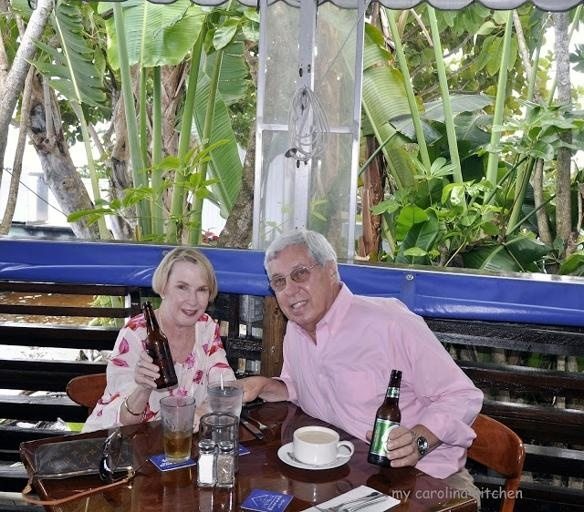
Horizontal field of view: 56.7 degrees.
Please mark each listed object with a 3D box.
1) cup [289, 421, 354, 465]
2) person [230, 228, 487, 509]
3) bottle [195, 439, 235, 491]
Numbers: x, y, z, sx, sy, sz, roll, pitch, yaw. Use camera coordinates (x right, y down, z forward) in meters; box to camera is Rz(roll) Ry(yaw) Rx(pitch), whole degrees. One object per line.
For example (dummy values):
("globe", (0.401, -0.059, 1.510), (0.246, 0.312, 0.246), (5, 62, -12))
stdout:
("cup", (0.076, 0.517, 1.498), (0.121, 0.045, 0.089), (6, 2, 6))
("person", (0.205, 0.484, 2.065), (0.896, 1.224, 0.557), (-7, 7, 37))
("bottle", (-0.192, 0.528, 1.371), (0.119, 0.129, 0.074), (0, -6, 0))
